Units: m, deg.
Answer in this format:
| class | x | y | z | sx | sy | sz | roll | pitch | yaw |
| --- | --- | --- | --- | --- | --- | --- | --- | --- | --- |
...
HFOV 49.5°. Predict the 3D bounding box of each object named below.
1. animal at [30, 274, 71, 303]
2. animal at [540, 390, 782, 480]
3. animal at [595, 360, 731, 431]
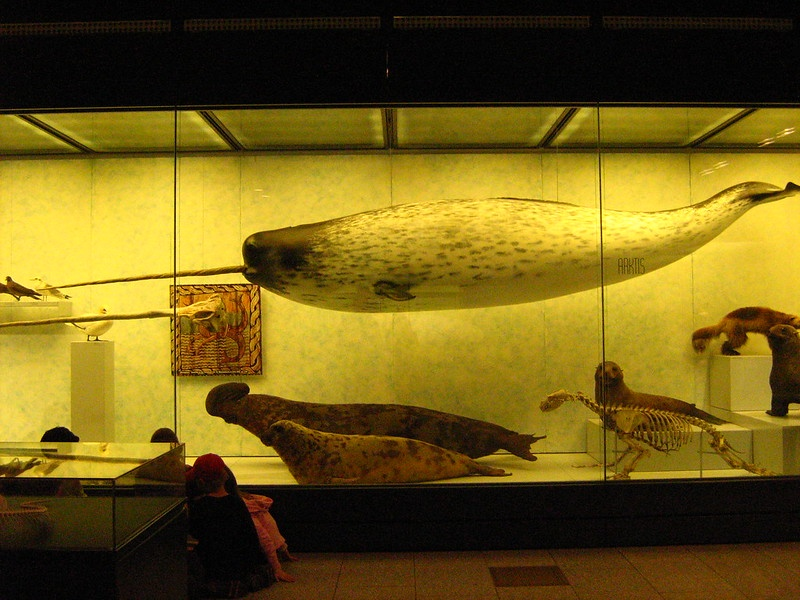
| class | x | y | z | sx | sy | sz | roll | pitch | yaw |
| --- | --- | --- | --- | --- | --- | --- | --- | --- | --- |
| animal | -2.336 | -0.070 | 5.872 | 0.325 | 0.196 | 0.109 | 2 | -5 | -5 |
| animal | 1.779 | 0.902 | 5.899 | 1.546 | 0.571 | 0.363 | 0 | 2 | 2 |
| animal | 1.728 | 0.646 | 5.892 | 0.849 | 0.312 | 0.234 | 8 | 3 | -8 |
